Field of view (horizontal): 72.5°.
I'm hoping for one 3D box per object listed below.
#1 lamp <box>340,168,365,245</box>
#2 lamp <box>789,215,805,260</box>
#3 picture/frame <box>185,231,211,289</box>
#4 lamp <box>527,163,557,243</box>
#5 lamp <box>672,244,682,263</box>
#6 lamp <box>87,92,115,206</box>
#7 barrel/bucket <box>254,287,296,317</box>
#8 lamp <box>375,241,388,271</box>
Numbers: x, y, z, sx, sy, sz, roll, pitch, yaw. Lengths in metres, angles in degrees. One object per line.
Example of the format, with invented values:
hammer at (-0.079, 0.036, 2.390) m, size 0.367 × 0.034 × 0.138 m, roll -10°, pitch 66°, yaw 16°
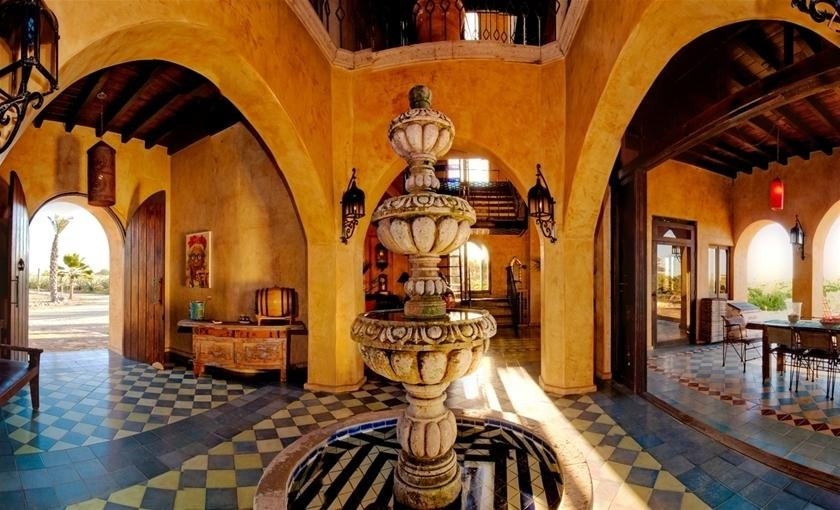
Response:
lamp at (-1.243, -0.893, 10.462) m, size 0.363 × 1.327 × 0.541 m, roll 0°, pitch -5°, yaw -15°
lamp at (8.824, -0.409, 13.436) m, size 0.301 × 0.998 × 0.448 m, roll -5°, pitch -7°, yaw 36°
picture/frame at (-4.779, 0.098, 12.388) m, size 0.751 × 1.197 × 0.197 m, roll -5°, pitch -7°, yaw 37°
lamp at (2.189, -0.954, 10.431) m, size 0.528 × 1.427 × 0.358 m, roll 4°, pitch -7°, yaw -40°
lamp at (6.541, -0.014, 14.591) m, size 0.216 × 0.374 × 0.887 m, roll -3°, pitch -6°, yaw 24°
lamp at (-6.286, -2.047, 11.345) m, size 0.474 × 2.089 × 1.214 m, roll 2°, pitch -6°, yaw -31°
barrel/bucket at (-2.784, 0.942, 11.160) m, size 0.820 × 0.561 × 0.664 m, roll -2°, pitch -11°, yaw -23°
lamp at (-0.977, 0.024, 14.836) m, size 0.340 × 0.710 × 0.183 m, roll -1°, pitch -5°, yaw -4°
